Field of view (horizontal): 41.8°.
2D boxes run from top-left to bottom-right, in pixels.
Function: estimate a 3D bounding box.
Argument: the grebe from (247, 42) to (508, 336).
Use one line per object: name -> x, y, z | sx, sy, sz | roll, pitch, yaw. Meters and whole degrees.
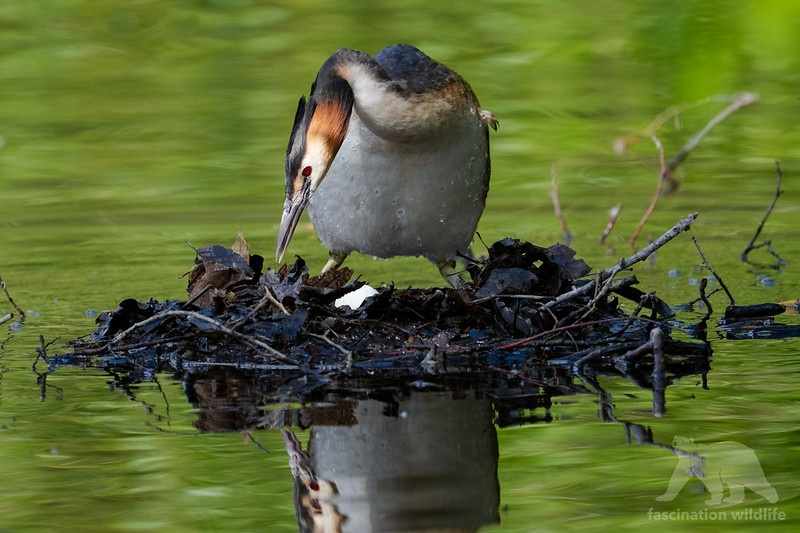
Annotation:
grebe -> -0.103, -0.726, 7.773 | 1.422, 1.846, 0.754 | -4, 8, 11
